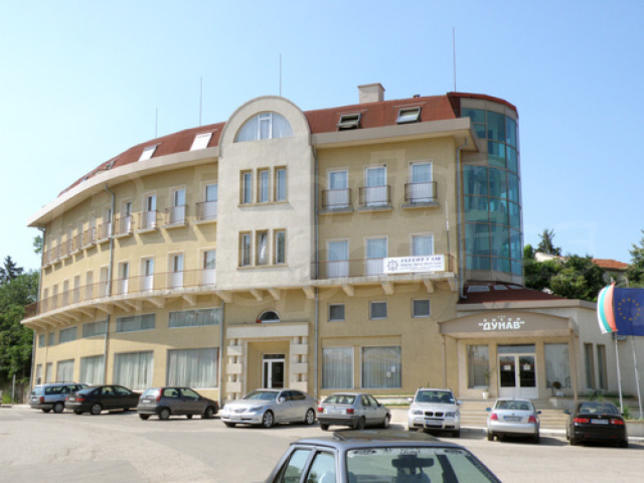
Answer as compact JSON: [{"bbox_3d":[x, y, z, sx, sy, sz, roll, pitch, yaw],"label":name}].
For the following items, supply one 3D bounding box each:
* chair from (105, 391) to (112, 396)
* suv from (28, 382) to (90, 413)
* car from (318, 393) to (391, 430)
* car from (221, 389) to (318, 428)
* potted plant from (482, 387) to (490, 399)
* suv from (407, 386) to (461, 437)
[{"bbox_3d":[-11.636,8.241,33.573,0.269,0.266,0.252,4,-15,-13],"label":"chair"},{"bbox_3d":[-15.176,9.293,36.229,3.556,1.321,1.723,4,-8,-38],"label":"suv"},{"bbox_3d":[1.389,6.921,25.207,2.974,1.433,1.328,14,-23,-39],"label":"car"},{"bbox_3d":[-2.094,7.077,26.404,1.670,1.302,4.008,-12,-20,35],"label":"car"},{"bbox_3d":[8.376,7.741,31.533,0.401,0.428,0.404,-8,-15,30],"label":"potted plant"},{"bbox_3d":[4.402,6.747,24.448,1.939,1.822,1.350,-2,-18,5],"label":"suv"}]
